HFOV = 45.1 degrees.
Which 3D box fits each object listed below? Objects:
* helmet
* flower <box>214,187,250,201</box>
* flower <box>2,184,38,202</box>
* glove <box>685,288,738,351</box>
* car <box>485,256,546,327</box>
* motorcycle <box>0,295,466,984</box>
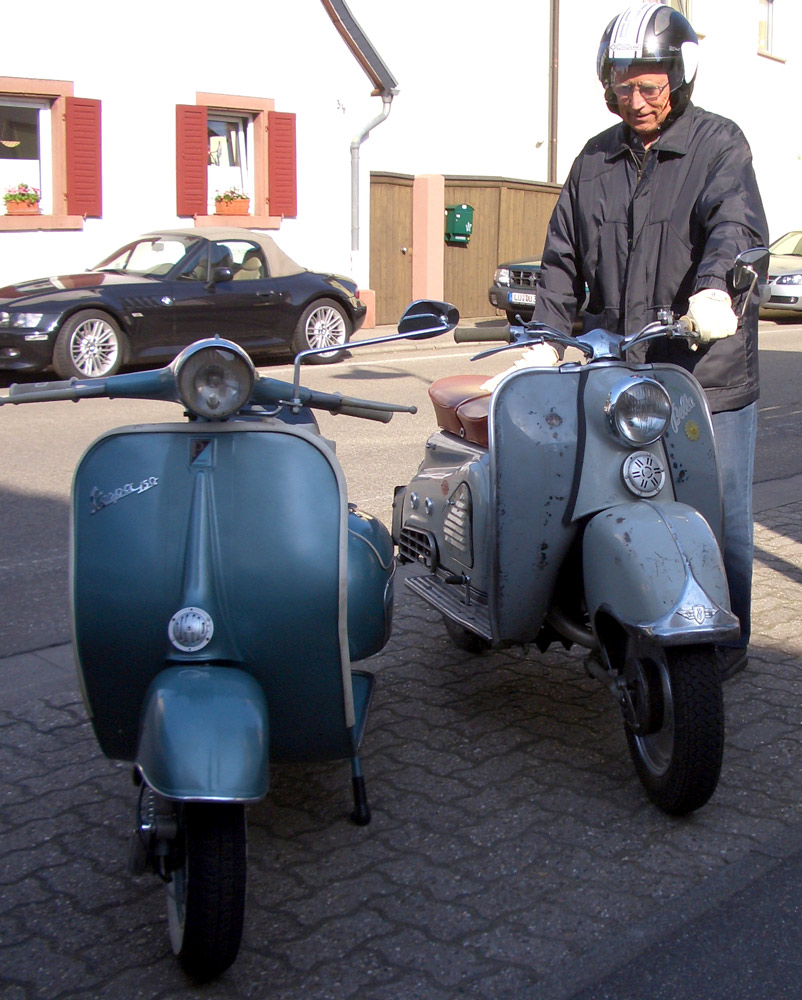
[{"bbox_3d":[0.725,-1.327,2.928,0.301,0.278,0.350,-5,-2,17],"label":"helmet"},{"bbox_3d":[-2.881,-5.148,16.272,0.468,0.136,0.426,1,6,2],"label":"flower"},{"bbox_3d":[-5.539,-4.422,13.946,0.429,0.146,0.383,-2,6,-22],"label":"flower"},{"bbox_3d":[0.787,-0.461,2.440,0.140,0.139,0.127,-1,8,-3],"label":"glove"},{"bbox_3d":[2.035,-3.787,16.873,0.949,0.841,2.070,11,11,0],"label":"car"},{"bbox_3d":[-0.349,0.218,1.988,0.615,1.275,0.923,3,9,26],"label":"motorcycle"}]
